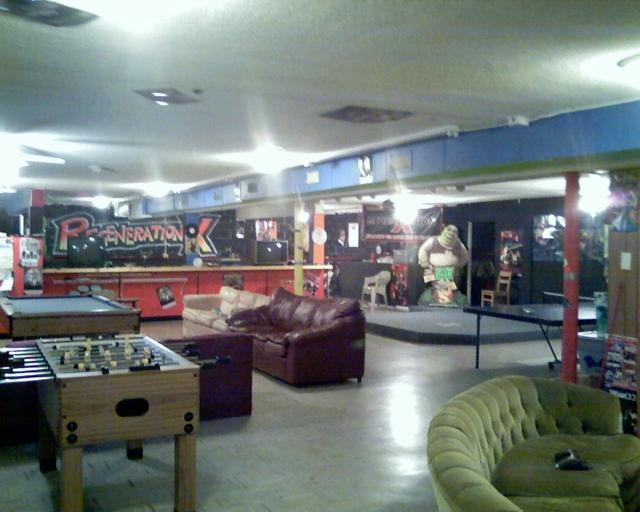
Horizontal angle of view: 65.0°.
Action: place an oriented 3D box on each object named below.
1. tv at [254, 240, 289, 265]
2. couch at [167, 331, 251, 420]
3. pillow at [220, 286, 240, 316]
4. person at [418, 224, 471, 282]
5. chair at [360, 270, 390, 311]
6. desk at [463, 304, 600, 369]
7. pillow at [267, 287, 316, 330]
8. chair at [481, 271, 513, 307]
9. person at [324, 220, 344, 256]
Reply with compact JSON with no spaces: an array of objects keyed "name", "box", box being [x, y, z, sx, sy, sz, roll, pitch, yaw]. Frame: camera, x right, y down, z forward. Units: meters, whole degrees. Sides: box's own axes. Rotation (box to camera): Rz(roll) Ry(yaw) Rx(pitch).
[{"name":"tv","box":[-1.308,-0.077,13.539,0.817,0.632,0.344,0,3,-10]},{"name":"couch","box":[-1.013,1.142,4.676,0.507,0.680,0.949,-1,-1,-24]},{"name":"pillow","box":[-1.717,0.857,9.398,0.458,0.479,0.450,0,1,-34]},{"name":"person","box":[3.551,-0.010,14.135,1.529,2.516,0.724,2,-5,-10]},{"name":"chair","box":[1.489,0.937,13.970,0.906,1.191,0.975,0,0,-34]},{"name":"desk","box":[3.081,0.908,7.605,1.531,0.757,1.509,-2,4,-41]},{"name":"pillow","box":[-0.432,0.842,7.842,0.607,0.611,0.185,1,-27,43]},{"name":"chair","box":[4.689,0.885,13.417,0.727,0.997,1.162,0,3,-9]},{"name":"person","box":[0.563,-0.676,19.604,0.404,1.354,1.214,-2,3,-37]}]
